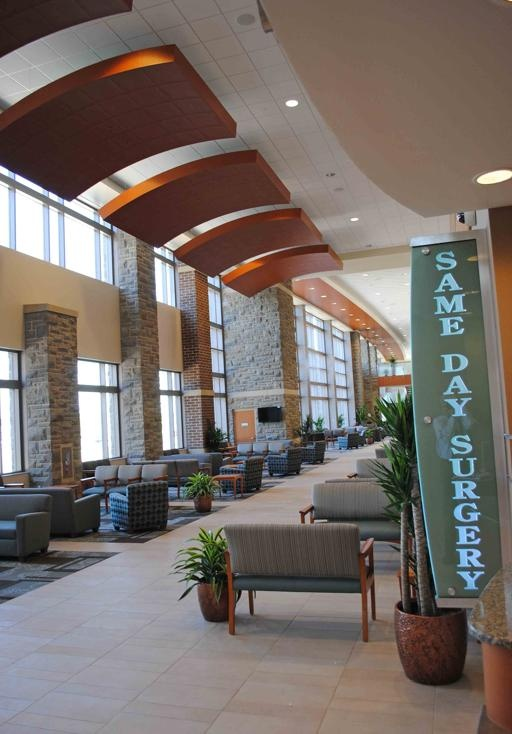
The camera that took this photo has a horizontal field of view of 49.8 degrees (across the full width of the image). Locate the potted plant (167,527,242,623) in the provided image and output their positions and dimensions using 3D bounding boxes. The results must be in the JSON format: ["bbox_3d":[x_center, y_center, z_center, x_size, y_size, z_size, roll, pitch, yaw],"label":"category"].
[{"bbox_3d":[-0.336,1.616,4.281,0.539,0.630,0.663,-6,-2,16],"label":"potted plant"}]

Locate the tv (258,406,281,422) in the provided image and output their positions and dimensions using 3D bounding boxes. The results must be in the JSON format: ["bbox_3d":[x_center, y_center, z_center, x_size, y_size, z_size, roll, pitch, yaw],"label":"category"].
[{"bbox_3d":[0.433,1.637,18.920,0.949,0.488,0.680,-3,-8,21],"label":"tv"}]

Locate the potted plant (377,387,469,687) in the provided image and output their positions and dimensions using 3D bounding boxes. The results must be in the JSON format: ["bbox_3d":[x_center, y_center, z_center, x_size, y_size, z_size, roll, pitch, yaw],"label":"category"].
[{"bbox_3d":[0.952,0.927,3.213,0.538,1.561,0.673,2,-4,19],"label":"potted plant"}]

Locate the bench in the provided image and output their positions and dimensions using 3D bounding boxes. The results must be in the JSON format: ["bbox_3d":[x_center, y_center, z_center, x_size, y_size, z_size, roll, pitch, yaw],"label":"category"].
[{"bbox_3d":[0.206,1.414,3.597,0.985,0.902,0.269,2,-4,22],"label":"bench"}]
